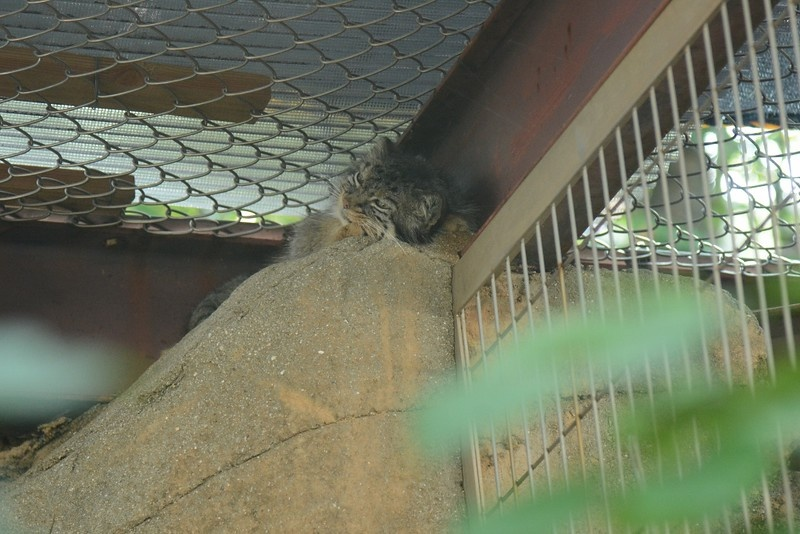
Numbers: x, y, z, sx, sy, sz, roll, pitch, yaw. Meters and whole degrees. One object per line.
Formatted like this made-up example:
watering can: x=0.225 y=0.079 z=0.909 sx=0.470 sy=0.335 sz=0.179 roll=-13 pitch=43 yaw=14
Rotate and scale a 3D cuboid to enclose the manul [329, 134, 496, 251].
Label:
manul: x=0.049 y=-0.386 z=8.550 sx=0.542 sy=0.257 sz=0.624 roll=22 pitch=-14 yaw=39
